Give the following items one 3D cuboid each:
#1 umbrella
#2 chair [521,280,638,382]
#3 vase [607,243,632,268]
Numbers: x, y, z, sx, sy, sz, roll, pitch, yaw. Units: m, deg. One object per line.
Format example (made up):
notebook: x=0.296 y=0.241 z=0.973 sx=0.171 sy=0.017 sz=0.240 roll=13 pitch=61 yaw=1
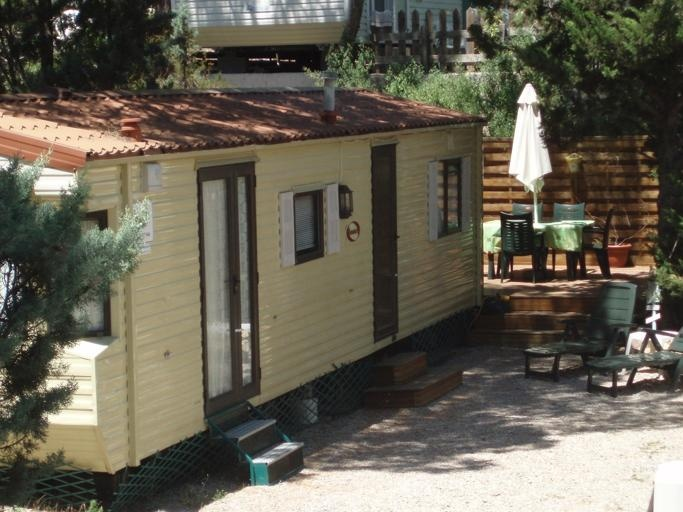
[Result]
umbrella: x=3.363 y=-2.079 z=19.936 sx=0.711 sy=2.080 sz=0.506 roll=-1 pitch=4 yaw=10
chair: x=4.015 y=1.042 z=17.104 sx=2.118 sy=1.538 sz=1.050 roll=-1 pitch=3 yaw=-39
vase: x=5.192 y=-0.014 z=20.822 sx=0.467 sy=0.356 sz=0.481 roll=1 pitch=1 yaw=15
